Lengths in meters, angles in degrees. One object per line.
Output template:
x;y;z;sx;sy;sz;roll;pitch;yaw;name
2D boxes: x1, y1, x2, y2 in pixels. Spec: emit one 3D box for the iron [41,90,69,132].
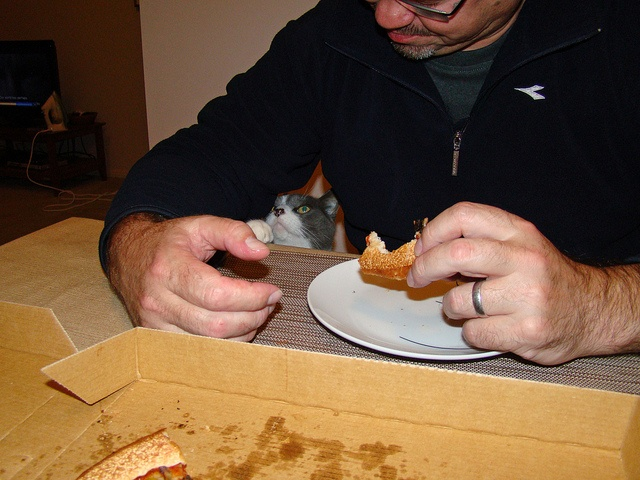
-2.206;-1.058;4.269;0.229;0.302;0.094;4;3;-6;iron
